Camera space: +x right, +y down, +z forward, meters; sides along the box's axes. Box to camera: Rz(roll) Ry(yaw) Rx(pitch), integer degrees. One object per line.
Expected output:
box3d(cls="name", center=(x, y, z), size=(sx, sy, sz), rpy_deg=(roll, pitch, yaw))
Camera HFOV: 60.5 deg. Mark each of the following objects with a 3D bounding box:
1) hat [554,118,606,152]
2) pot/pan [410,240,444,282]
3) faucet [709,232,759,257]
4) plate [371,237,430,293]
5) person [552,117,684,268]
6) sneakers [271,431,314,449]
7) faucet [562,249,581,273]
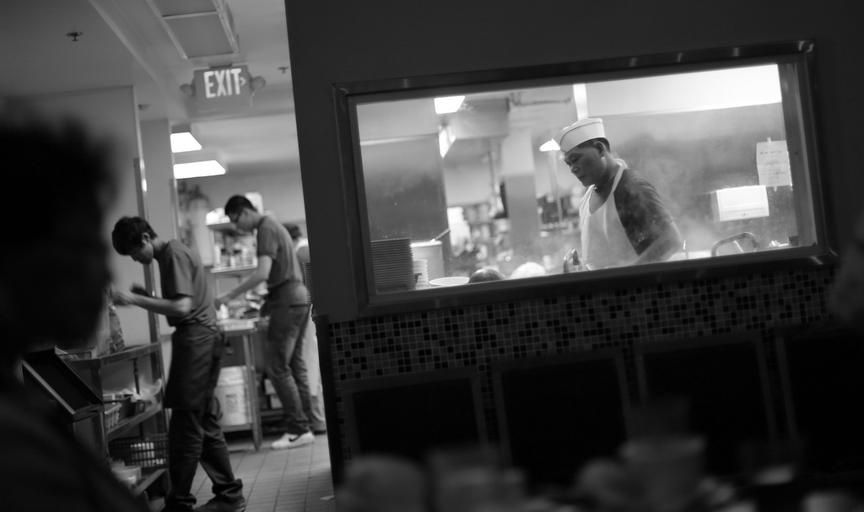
box3d(cls="hat", center=(0.771, -0.633, 3.859), size=(0.202, 0.098, 0.165), rpy_deg=(-10, -7, 3))
box3d(cls="pot/pan", center=(-0.020, 0.024, 3.606), size=(0.195, 0.200, 0.189), rpy_deg=(-4, 2, -6))
box3d(cls="faucet", center=(1.563, -0.066, 3.854), size=(0.277, 0.116, 0.045), rpy_deg=(-7, 0, -11))
box3d(cls="plate", center=(-0.197, 0.045, 3.751), size=(0.219, 0.273, 0.102), rpy_deg=(-2, 9, -1))
box3d(cls="person", center=(1.007, -0.348, 4.010), size=(0.594, 0.829, 0.874), rpy_deg=(-5, 0, -5))
box3d(cls="sneakers", center=(-1.166, 1.532, 6.212), size=(0.354, 0.119, 0.125), rpy_deg=(-1, -3, -30))
box3d(cls="faucet", center=(0.706, 0.024, 3.800), size=(0.102, 0.116, 0.063), rpy_deg=(-7, 1, -2))
